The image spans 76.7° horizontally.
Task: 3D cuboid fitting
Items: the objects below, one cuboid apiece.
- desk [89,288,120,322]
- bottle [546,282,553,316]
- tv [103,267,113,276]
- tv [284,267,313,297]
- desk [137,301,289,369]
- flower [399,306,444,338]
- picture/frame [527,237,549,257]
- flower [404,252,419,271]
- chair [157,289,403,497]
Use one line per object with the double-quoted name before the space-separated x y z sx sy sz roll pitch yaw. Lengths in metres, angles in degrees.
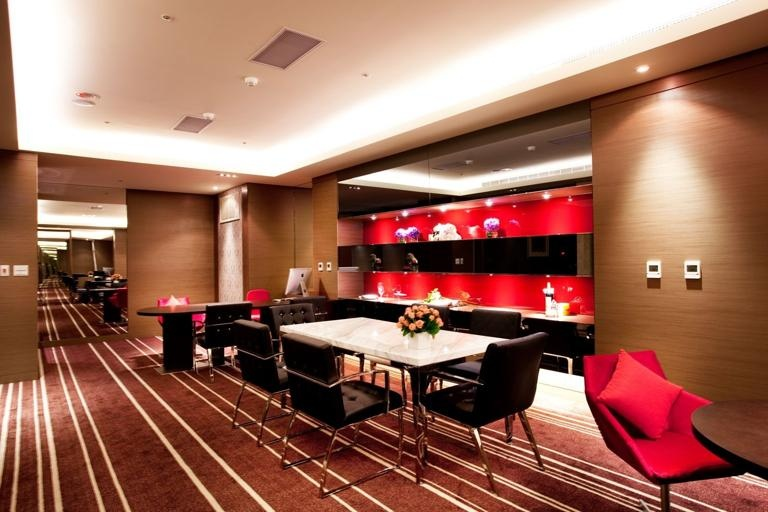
"desk" -6.203 1.087 11.152 0.970 0.796 0.920 1 -4 -32
"bottle" 2.309 0.579 6.788 0.127 0.370 0.530 2 11 18
"tv" -6.568 0.354 11.498 0.222 0.188 0.115 -3 -9 18
"tv" -1.648 0.519 9.452 0.691 0.604 0.386 -1 10 -42
"desk" -3.086 1.268 8.061 1.821 1.061 1.123 -4 27 -35
"flower" 0.383 0.649 4.957 0.371 0.231 0.360 -3 5 -40
"picture/frame" 2.114 -0.132 6.621 0.030 0.253 0.294 -1 -3 -42
"flower" 0.469 0.093 8.307 0.216 0.338 0.323 5 -7 -36
"chair" -0.607 1.437 5.019 1.046 1.396 1.301 -9 13 -34
